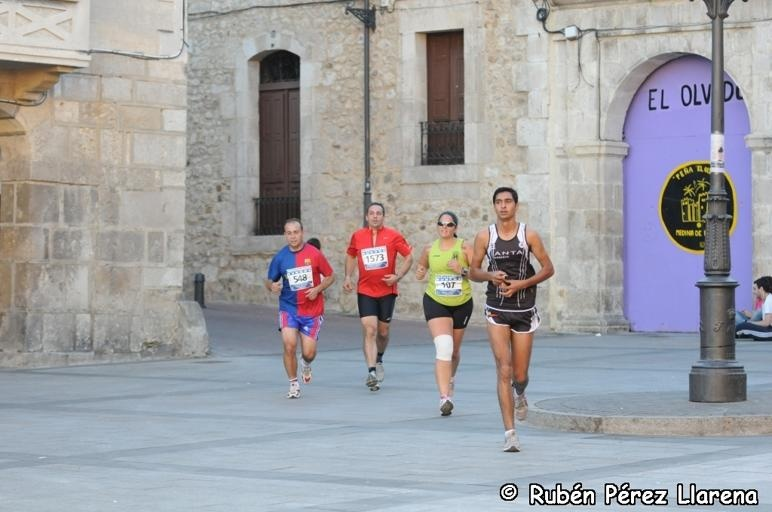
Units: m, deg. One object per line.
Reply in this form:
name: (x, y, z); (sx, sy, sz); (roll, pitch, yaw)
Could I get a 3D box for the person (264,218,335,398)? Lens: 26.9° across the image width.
person: (-1.090, 0.660, 20.808); (0.829, 1.949, 0.891); (-1, 0, -3)

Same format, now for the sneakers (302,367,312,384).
sneakers: (-1.024, 1.558, 21.140); (0.109, 0.257, 0.128); (-4, -9, 1)

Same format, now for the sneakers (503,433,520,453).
sneakers: (1.357, 1.984, 17.334); (0.170, 0.202, 0.273); (-1, 0, 4)

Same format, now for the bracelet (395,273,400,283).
bracelet: (0.173, 0.288, 21.140); (0.064, 0.026, 0.078); (5, 43, 14)

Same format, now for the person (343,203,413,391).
person: (-0.086, 0.522, 21.396); (0.905, 2.149, 0.971); (-1, 0, 0)

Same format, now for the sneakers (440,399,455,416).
sneakers: (0.741, 1.800, 19.037); (0.111, 0.111, 0.240); (2, -29, -5)

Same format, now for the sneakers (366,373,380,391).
sneakers: (-0.158, 1.644, 20.926); (0.116, 0.119, 0.276); (-2, -19, -1)

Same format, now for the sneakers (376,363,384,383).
sneakers: (-0.065, 1.557, 21.522); (0.100, 0.252, 0.115); (-4, -11, -3)

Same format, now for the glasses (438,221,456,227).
glasses: (0.767, -0.383, 19.585); (0.226, 0.049, 0.143); (-1, 0, -14)
